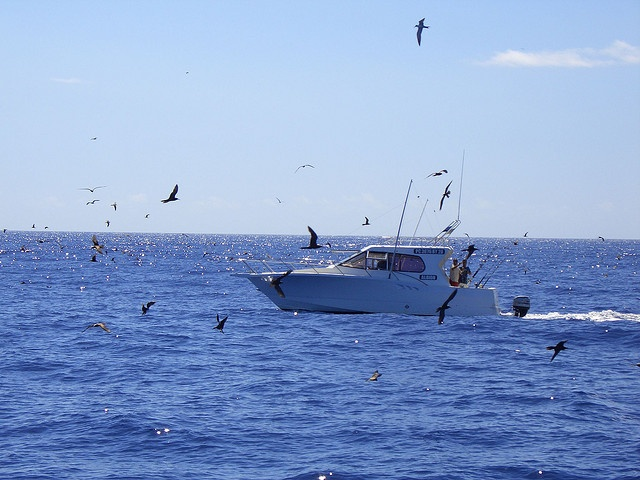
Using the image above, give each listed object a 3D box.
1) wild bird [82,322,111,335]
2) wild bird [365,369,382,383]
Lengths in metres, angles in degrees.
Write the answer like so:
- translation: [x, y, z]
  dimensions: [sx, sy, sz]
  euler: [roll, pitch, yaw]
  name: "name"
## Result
- translation: [-9.320, 3.639, 48.800]
  dimensions: [1.306, 0.281, 0.704]
  euler: [-8, 7, 32]
  name: "wild bird"
- translation: [2.119, 4.766, 42.053]
  dimensions: [0.657, 0.267, 0.626]
  euler: [6, 6, 29]
  name: "wild bird"
